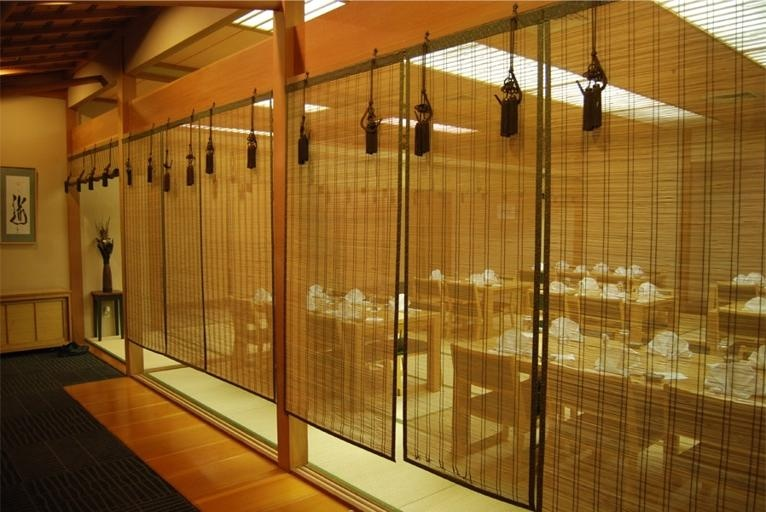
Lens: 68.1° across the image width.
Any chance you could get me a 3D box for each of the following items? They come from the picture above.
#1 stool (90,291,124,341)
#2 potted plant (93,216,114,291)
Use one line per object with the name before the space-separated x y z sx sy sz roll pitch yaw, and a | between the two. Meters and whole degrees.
stool | -3.700 0.789 7.626 0.419 0.602 0.411 -1 0 -31
potted plant | -3.763 0.012 7.701 0.235 0.922 0.529 -6 11 -26
